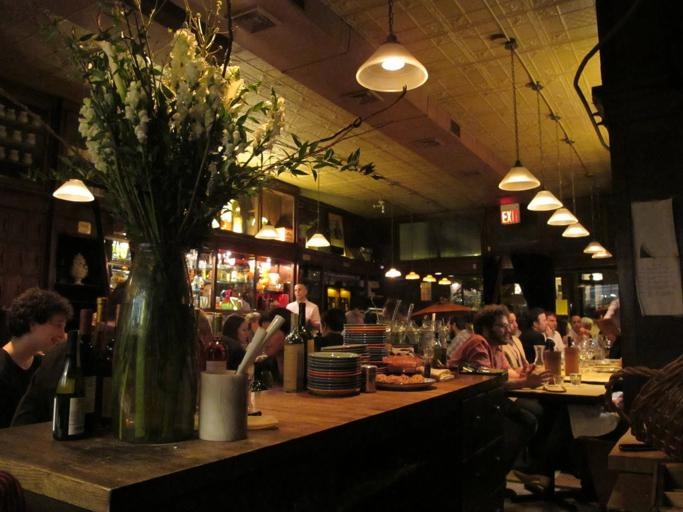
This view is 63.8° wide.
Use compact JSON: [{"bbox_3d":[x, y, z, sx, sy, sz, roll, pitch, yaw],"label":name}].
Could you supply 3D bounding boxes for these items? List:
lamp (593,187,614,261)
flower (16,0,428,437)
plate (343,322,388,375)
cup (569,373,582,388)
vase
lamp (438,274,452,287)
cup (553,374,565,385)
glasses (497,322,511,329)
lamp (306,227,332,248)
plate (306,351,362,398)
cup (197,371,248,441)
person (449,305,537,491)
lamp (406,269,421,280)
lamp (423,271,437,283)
[{"bbox_3d":[4.965,-0.666,10.394,0.403,1.198,0.369,5,0,24],"label":"lamp"},{"bbox_3d":[-0.558,-0.128,2.226,1.075,1.575,1.266,5,0,-30],"label":"flower"},{"bbox_3d":[0.130,0.445,2.790,0.197,0.142,0.201,-2,-8,24],"label":"plate"},{"bbox_3d":[1.919,1.005,4.484,0.086,0.075,0.094,2,-16,1],"label":"cup"},{"bbox_3d":[-0.571,0.270,1.724,0.244,0.628,0.118,5,0,-23],"label":"vase"},{"bbox_3d":[2.386,0.569,12.727,0.234,0.123,0.229,8,-14,-43],"label":"lamp"},{"bbox_3d":[1.724,0.985,4.369,0.100,0.080,0.105,1,-15,0],"label":"cup"},{"bbox_3d":[1.393,0.574,4.703,0.092,0.063,0.118,2,-25,-7],"label":"glasses"},{"bbox_3d":[-0.394,-0.245,8.190,0.343,0.374,0.372,1,-1,13],"label":"lamp"},{"bbox_3d":[-0.033,0.524,2.464,0.188,0.127,0.192,2,-4,5],"label":"plate"},{"bbox_3d":[-0.373,0.479,1.745,0.152,0.223,0.074,5,0,-15],"label":"cup"},{"bbox_3d":[1.277,1.086,4.563,0.815,1.288,0.558,2,4,31],"label":"person"},{"bbox_3d":[1.448,0.361,11.325,0.229,0.117,0.225,7,-12,-40],"label":"lamp"},{"bbox_3d":[1.879,0.424,11.625,0.240,0.173,0.240,2,-11,-11],"label":"lamp"}]
